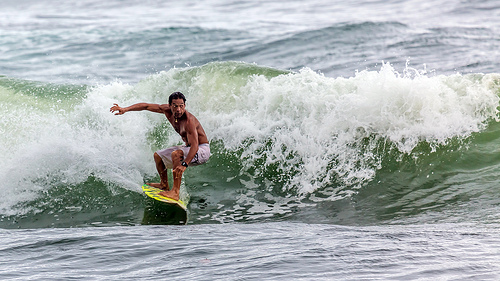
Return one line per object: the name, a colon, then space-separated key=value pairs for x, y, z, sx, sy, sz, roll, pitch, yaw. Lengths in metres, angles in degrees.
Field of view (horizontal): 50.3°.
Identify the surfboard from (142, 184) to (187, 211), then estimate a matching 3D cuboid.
surfboard: x=-2.161 y=1.390 z=13.066 sx=1.498 sy=0.168 sz=0.471 roll=15 pitch=18 yaw=42
